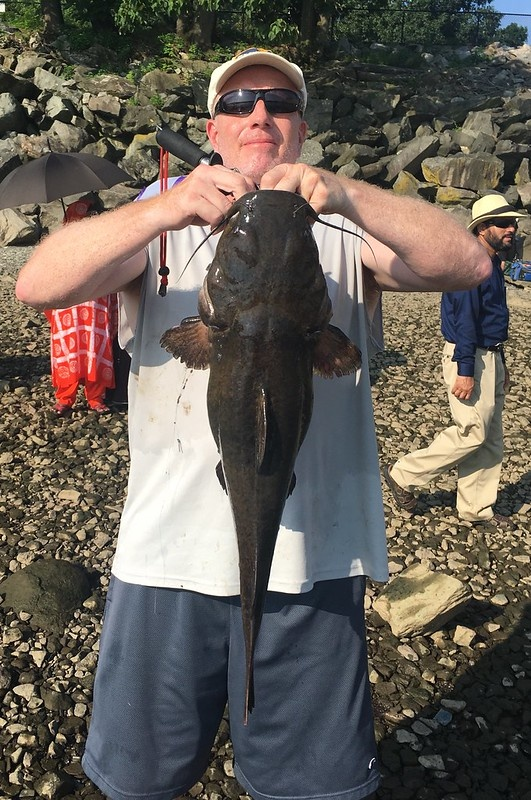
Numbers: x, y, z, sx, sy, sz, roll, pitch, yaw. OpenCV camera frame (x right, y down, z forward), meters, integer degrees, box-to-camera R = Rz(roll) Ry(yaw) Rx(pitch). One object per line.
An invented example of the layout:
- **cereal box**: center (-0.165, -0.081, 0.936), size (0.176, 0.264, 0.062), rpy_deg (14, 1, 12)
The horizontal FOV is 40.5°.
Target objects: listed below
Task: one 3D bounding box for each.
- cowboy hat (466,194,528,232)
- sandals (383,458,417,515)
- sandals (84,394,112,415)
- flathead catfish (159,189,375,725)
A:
- **cowboy hat**: center (1.727, -1.438, 5.526), size (0.319, 0.166, 0.379), rpy_deg (-10, -3, -15)
- **sandals**: center (0.956, 0.672, 5.355), size (0.146, 0.428, 0.184), rpy_deg (-28, 16, -11)
- **sandals**: center (-1.593, 0.044, 6.874), size (0.197, 0.130, 0.367), rpy_deg (2, 0, -8)
- **flathead catfish**: center (0.002, 0.123, 1.709), size (0.456, 1.126, 0.311), rpy_deg (4, 9, 2)
